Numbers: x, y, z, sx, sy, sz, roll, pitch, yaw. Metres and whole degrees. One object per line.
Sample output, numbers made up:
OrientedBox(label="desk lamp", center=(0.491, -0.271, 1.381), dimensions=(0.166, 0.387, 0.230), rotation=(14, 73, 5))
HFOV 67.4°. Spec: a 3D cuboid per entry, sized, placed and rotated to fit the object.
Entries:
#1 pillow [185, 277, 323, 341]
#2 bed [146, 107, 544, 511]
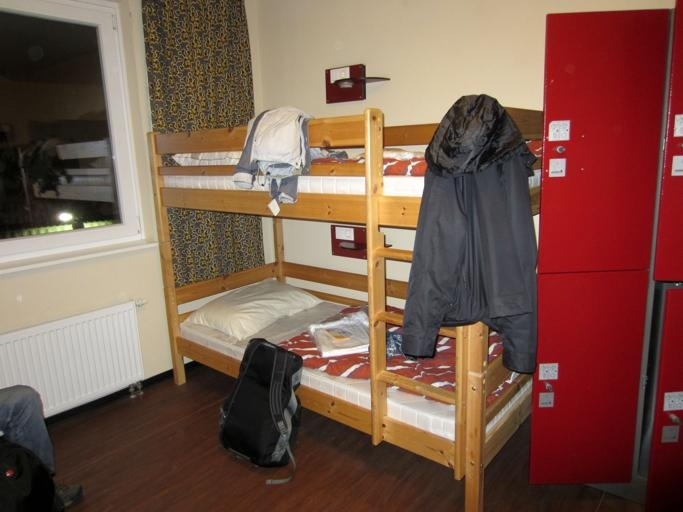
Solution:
OrientedBox(label="pillow", center=(-0.751, 0.422, 4.046), dimensions=(0.618, 0.150, 0.760), rotation=(9, 14, 31))
OrientedBox(label="bed", center=(-0.008, 0.360, 3.074), dimensions=(2.264, 1.812, 1.312), rotation=(10, 19, 36))
